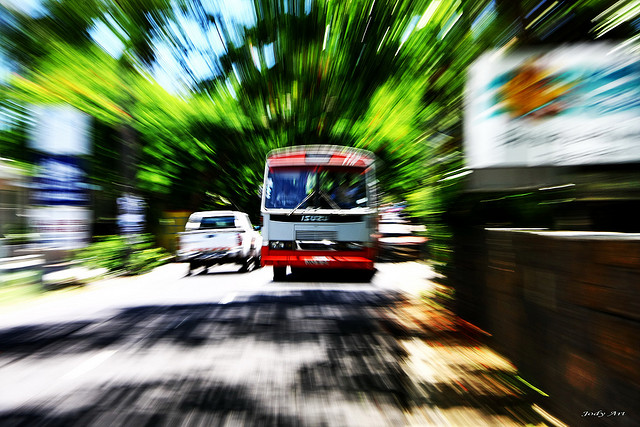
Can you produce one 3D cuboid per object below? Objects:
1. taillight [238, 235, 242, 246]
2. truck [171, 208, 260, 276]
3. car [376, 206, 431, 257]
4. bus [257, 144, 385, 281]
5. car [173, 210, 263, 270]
[{"bbox_3d":[-2.909,0.938,12.310,0.145,0.358,0.070,1,-2,-24],"label":"taillight"},{"bbox_3d":[-3.690,0.855,13.778,2.553,1.445,3.851,0,1,5],"label":"truck"},{"bbox_3d":[1.623,0.445,7.222,0.735,0.698,2.019,-1,-5,4],"label":"car"},{"bbox_3d":[0.136,-0.264,11.322,2.995,2.072,4.337,1,0,3],"label":"bus"},{"bbox_3d":[-4.019,0.757,13.714,2.793,1.422,4.114,-4,10,-10],"label":"car"}]
